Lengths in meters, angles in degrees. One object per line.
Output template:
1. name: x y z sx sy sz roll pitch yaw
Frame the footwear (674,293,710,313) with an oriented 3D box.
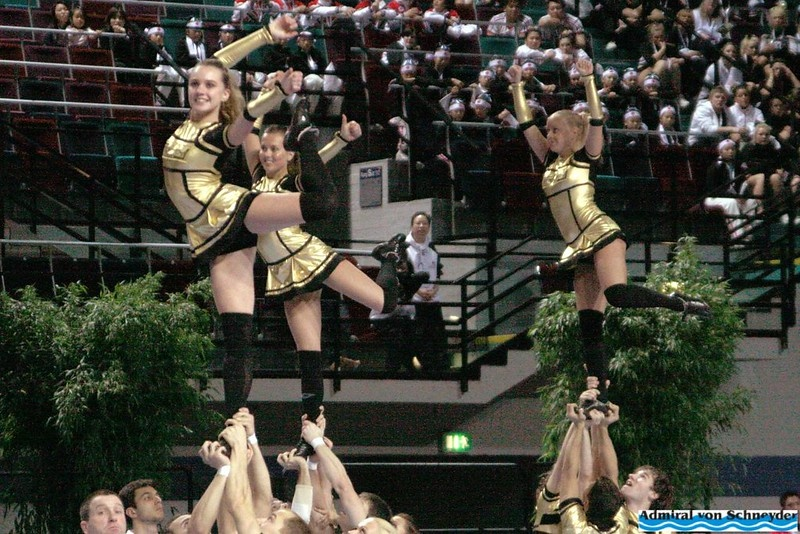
1. footwear: 2.757 0.348 20.572 0.282 0.085 0.208 18 4 34

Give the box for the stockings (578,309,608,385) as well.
1. stockings: 1.826 0.765 20.727 0.248 0.748 0.404 -1 -1 4

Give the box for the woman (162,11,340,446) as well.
1. woman: -1.487 -0.518 20.146 1.411 3.727 0.523 -1 -1 21

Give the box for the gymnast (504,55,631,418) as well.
1. gymnast: 1.659 -0.384 20.836 1.018 3.289 0.400 -2 -1 31

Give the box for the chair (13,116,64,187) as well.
1. chair: -4.063 -1.241 23.902 0.624 0.709 0.348 0 -1 -20

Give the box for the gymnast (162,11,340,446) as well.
1. gymnast: -1.485 -0.518 20.149 1.419 3.727 0.510 -1 -1 20

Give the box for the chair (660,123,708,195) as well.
1. chair: 3.292 -1.251 25.290 0.869 0.712 0.410 12 -47 -10

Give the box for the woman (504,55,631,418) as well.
1. woman: 1.659 -0.384 20.836 1.018 3.289 0.400 -2 -1 31

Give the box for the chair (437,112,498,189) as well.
1. chair: 0.765 -1.368 25.083 0.959 1.029 0.670 0 5 2

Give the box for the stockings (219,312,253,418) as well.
1. stockings: -1.550 0.896 20.111 0.285 0.961 0.232 -1 -1 -3
